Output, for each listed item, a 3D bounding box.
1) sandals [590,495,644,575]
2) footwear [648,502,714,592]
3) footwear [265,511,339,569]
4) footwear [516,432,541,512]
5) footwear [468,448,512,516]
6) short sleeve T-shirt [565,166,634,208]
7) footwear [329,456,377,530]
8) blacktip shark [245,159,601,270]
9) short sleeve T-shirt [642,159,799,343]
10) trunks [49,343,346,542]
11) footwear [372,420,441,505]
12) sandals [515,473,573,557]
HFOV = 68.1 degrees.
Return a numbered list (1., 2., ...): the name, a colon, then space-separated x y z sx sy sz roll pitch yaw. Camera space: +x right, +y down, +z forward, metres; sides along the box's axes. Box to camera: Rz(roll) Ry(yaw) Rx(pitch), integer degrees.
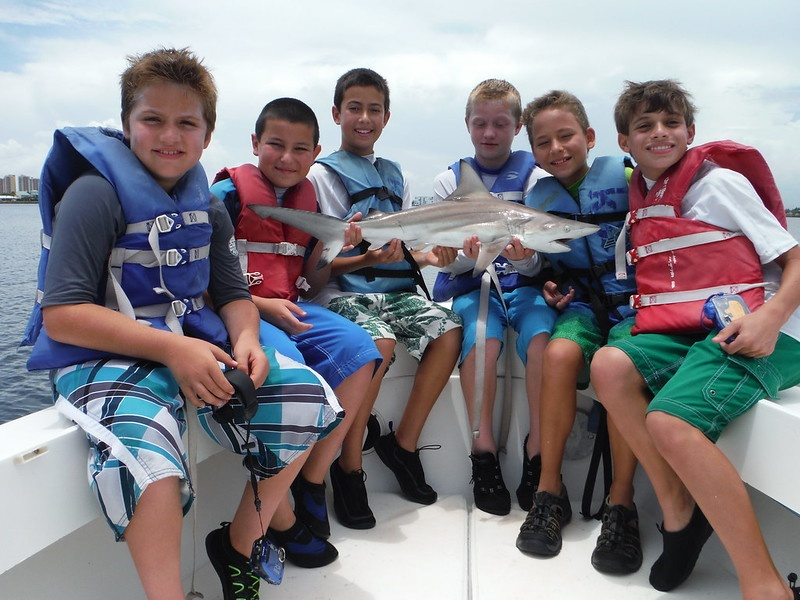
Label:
1. sandals: 0.951 1.000 2.589 0.186 0.172 0.447 -2 15 29
2. footwear: 1.110 0.977 2.343 0.196 0.353 0.136 7 16 28
3. footwear: -0.393 1.043 2.559 0.313 0.124 0.148 18 15 2
4. footwear: 0.636 0.853 2.921 0.113 0.339 0.143 3 -10 -1
5. footwear: 0.446 0.906 2.917 0.126 0.135 0.340 -5 7 -2
6. short sleeve T-shirt: 1.078 -0.592 3.177 0.175 0.176 0.183 -6 -3 5
7. footwear: -0.242 0.904 2.833 0.131 0.144 0.328 5 33 -34
8. blacktip shark: 0.114 -0.390 2.985 1.621 0.540 0.459 0 0 9
9. short sleeve T-shirt: 1.412 -0.298 2.708 0.697 0.654 0.438 -2 -5 1
10. trunks: -0.719 0.447 2.167 0.888 0.515 0.473 -9 16 -31
11. footwear: 0.040 0.876 3.125 0.218 0.454 0.181 -37 -6 7
12. sandals: 0.626 0.986 2.615 0.143 0.154 0.344 -2 -2 21
